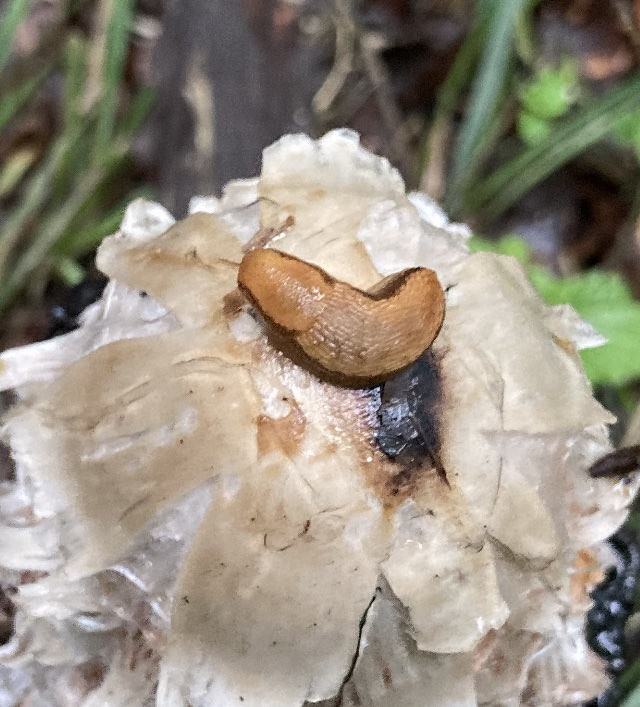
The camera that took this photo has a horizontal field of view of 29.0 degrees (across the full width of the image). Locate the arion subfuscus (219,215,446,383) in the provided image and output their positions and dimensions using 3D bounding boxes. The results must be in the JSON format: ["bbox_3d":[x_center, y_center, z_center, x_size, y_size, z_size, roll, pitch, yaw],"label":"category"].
[{"bbox_3d":[0.023,-0.057,2.103,0.348,0.156,0.184,9,70,-2],"label":"arion subfuscus"}]
